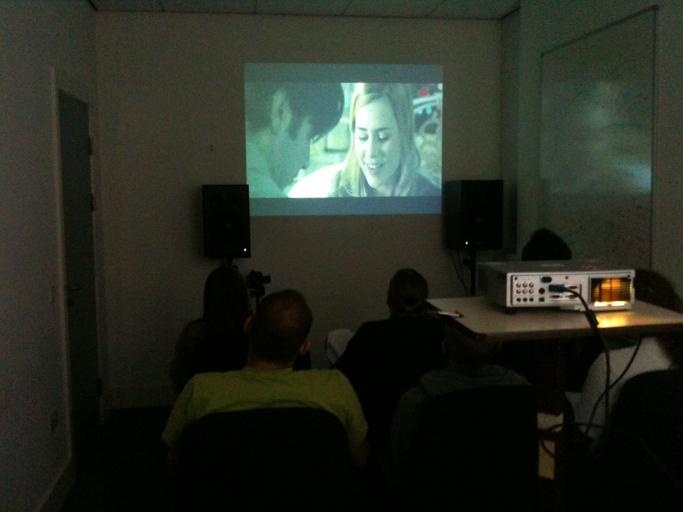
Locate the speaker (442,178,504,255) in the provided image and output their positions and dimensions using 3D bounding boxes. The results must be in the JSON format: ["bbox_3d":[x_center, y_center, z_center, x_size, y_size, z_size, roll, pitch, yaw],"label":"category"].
[{"bbox_3d":[1.004,-0.309,4.822,0.464,0.549,0.259,0,7,12],"label":"speaker"}]

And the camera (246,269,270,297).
[{"bbox_3d":[-0.562,0.192,4.346,0.193,0.222,0.154,2,1,25],"label":"camera"}]

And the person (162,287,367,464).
[{"bbox_3d":[-0.307,0.530,2.624,0.866,0.800,0.471,3,24,-13],"label":"person"}]

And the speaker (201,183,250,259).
[{"bbox_3d":[-0.824,-0.183,4.600,0.394,0.601,0.378,-8,-18,7],"label":"speaker"}]

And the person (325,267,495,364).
[{"bbox_3d":[0.344,0.354,3.416,0.398,0.509,0.761,-3,-4,38],"label":"person"}]
